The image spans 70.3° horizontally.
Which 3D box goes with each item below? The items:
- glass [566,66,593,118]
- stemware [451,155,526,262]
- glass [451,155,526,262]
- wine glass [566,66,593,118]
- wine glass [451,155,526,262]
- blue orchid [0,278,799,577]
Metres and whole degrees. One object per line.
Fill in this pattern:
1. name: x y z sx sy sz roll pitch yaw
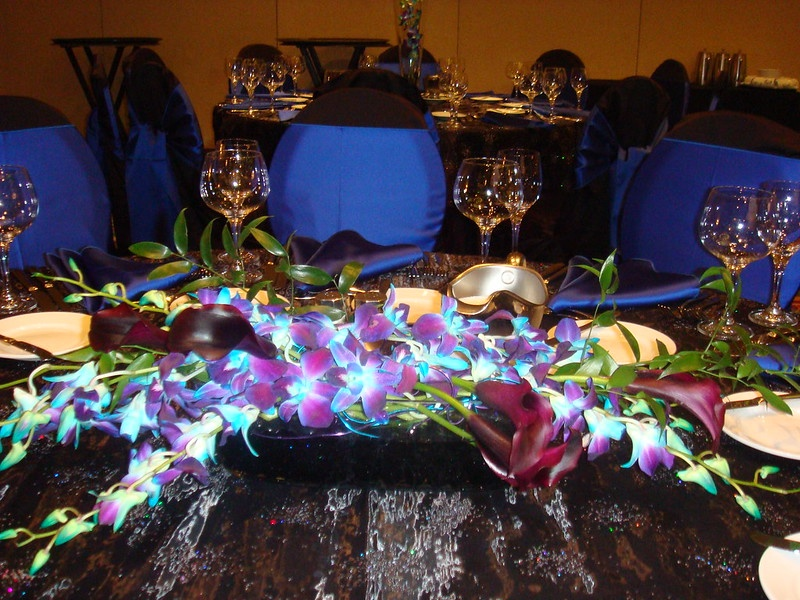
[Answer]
1. glass: 1.180 -1.413 3.785 0.099 0.251 0.580 6 23 15
2. stemware: 0.182 -0.203 1.222 0.118 0.187 0.142 19 28 41
3. glass: 0.182 -0.203 1.222 0.118 0.187 0.142 19 28 41
4. wine glass: 1.178 -1.411 3.780 0.099 0.251 0.567 6 22 15
5. wine glass: 0.182 -0.203 1.222 0.118 0.187 0.142 19 28 41
6. blue orchid: -0.002 0.140 0.562 0.515 0.155 0.206 8 -6 -4
